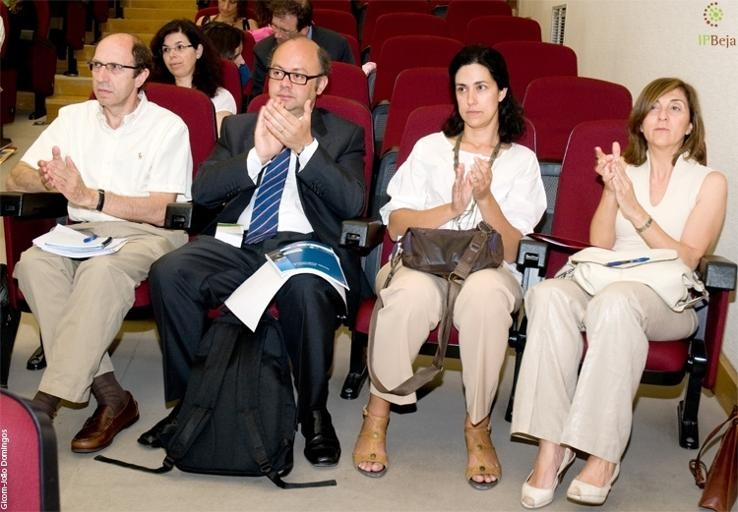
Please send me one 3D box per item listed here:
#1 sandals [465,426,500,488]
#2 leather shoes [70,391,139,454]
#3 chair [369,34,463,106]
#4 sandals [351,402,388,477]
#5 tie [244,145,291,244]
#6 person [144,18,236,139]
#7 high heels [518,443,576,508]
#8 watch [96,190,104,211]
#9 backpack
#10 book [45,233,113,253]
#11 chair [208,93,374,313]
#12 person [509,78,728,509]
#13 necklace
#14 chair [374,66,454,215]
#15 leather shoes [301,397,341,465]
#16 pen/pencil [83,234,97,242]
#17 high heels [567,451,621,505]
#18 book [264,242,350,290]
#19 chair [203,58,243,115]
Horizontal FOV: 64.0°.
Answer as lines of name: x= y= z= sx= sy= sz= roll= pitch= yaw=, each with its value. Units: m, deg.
sandals: x=0.452 y=0.754 z=2.356 sx=0.128 sy=0.138 sz=0.383 roll=-1 pitch=16 yaw=9
leather shoes: x=-1.091 y=0.689 z=2.460 sx=0.112 sy=0.133 sz=0.349 roll=-3 pitch=10 yaw=18
chair: x=0.297 y=-1.476 z=4.553 sx=0.595 sy=0.842 sz=0.675 roll=1 pitch=15 yaw=-9
sandals: x=0.012 y=0.692 z=2.362 sx=0.135 sy=0.286 sz=0.194 roll=4 pitch=7 yaw=0
tie: x=-0.455 y=-0.236 z=2.672 sx=0.148 sy=0.070 sz=0.607 roll=3 pitch=-35 yaw=-18
person: x=-1.098 y=-1.040 z=3.653 sx=0.588 sy=0.794 sz=0.420 roll=-10 pitch=1 yaw=-11
high heels: x=0.650 y=0.858 z=2.237 sx=0.108 sy=0.119 sz=0.301 roll=14 pitch=57 yaw=49
watch: x=-1.180 y=-0.239 z=2.602 sx=0.035 sy=0.089 sz=0.034 roll=-1 pitch=9 yaw=-37
backpack: x=-0.587 y=0.542 z=2.343 sx=0.773 sy=0.690 sz=0.356 roll=3 pitch=-15 yaw=-3
book: x=-1.210 y=-0.052 z=2.523 sx=0.123 sy=0.036 sz=0.125 roll=4 pitch=20 yaw=6
chair: x=-0.287 y=-0.092 z=2.414 sx=0.662 sy=0.828 sz=0.738 roll=-13 pitch=12 yaw=-12
person: x=0.997 y=0.089 z=2.345 sx=0.544 sy=1.647 sz=0.936 roll=10 pitch=9 yaw=40
necklace: x=0.475 y=-0.340 z=2.656 sx=0.202 sy=0.392 sz=0.085 roll=16 pitch=11 yaw=35
chair: x=0.244 y=-0.791 z=3.368 sx=0.442 sy=0.851 sz=0.489 roll=-2 pitch=13 yaw=1
leather shoes: x=-0.192 y=0.717 z=2.392 sx=0.094 sy=0.117 sz=0.285 roll=-7 pitch=8 yaw=-10
pen/pencil: x=-1.200 y=-0.073 z=2.546 sx=0.025 sy=0.011 sz=0.047 roll=25 pitch=32 yaw=-2
high heels: x=0.833 y=0.838 z=2.188 sx=0.214 sy=0.082 sz=0.110 roll=-34 pitch=27 yaw=-32
book: x=-0.257 y=0.034 z=2.431 sx=0.286 sy=0.161 sz=0.223 roll=0 pitch=9 yaw=-31
chair: x=-0.895 y=-1.121 z=3.888 sx=0.235 sy=0.432 sz=0.262 roll=-3 pitch=16 yaw=-11
